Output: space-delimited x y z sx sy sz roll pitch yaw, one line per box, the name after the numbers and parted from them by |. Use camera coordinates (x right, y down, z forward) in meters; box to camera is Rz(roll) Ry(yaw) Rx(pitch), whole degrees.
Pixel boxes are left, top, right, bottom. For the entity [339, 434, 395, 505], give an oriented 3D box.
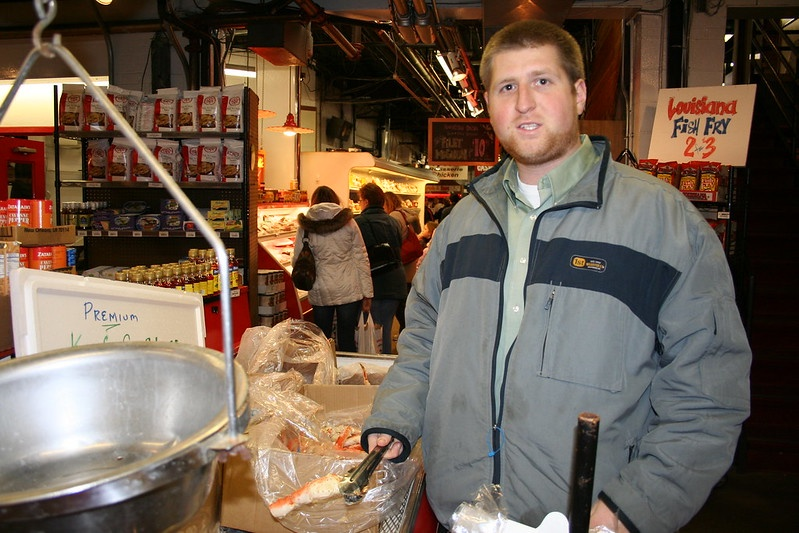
-0.093 0.574 1.680 0.060 0.069 0.255 -8 11 22 | entity

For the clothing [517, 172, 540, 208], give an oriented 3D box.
0.471 -0.281 2.129 0.087 0.093 0.092 23 3 -20 | clothing

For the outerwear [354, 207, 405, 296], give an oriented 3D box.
-0.229 -0.225 6.038 0.453 0.621 0.332 -11 -7 -4 | outerwear

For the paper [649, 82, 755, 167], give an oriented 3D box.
2.632 -1.244 5.133 0.918 0.825 0.104 8 -1 26 | paper

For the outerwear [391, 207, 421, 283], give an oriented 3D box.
0.183 -0.337 7.502 0.514 0.750 0.415 -4 17 18 | outerwear

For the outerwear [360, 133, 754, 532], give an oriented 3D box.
0.521 0.240 1.966 1.141 1.359 0.487 2 4 21 | outerwear
